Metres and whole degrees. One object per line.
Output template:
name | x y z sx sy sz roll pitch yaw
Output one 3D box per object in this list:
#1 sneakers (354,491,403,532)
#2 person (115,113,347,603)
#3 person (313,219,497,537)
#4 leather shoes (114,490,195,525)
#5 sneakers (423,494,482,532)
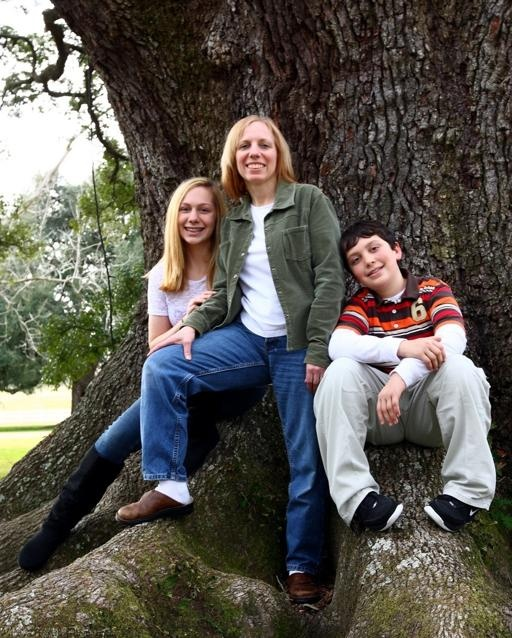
sneakers | 0.479 0.768 2.499 0.211 0.168 0.237 -5 0 6
person | -0.048 0.147 3.074 1.012 2.359 0.631 -5 0 -6
person | 0.605 0.236 2.712 0.726 1.333 0.685 -5 0 6
leather shoes | -0.447 0.839 2.845 0.365 0.141 0.147 -2 -3 -7
sneakers | 0.737 0.734 2.344 0.100 0.105 0.226 -35 -12 5
